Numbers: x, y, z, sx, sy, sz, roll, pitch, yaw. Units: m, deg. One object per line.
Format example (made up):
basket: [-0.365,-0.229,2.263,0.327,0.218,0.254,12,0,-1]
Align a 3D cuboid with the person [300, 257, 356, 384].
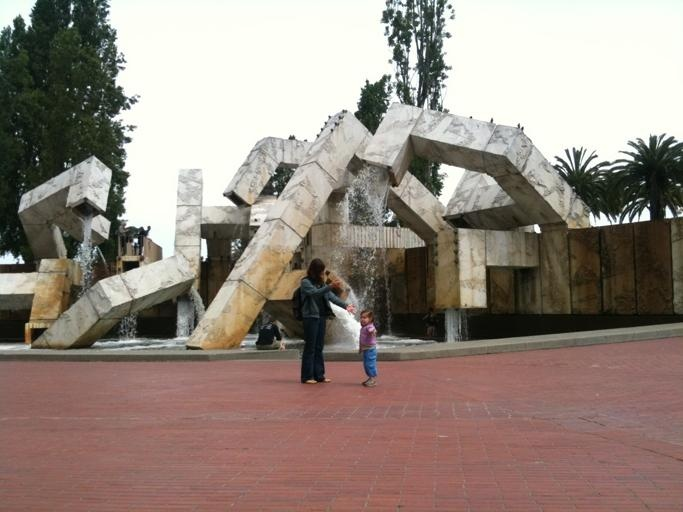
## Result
person: [-0.299,0.950,12.356,0.626,1.802,0.574,0,-6,3]

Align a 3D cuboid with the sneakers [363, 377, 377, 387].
sneakers: [0.413,1.816,12.226,0.163,0.123,0.092,2,-2,10]
